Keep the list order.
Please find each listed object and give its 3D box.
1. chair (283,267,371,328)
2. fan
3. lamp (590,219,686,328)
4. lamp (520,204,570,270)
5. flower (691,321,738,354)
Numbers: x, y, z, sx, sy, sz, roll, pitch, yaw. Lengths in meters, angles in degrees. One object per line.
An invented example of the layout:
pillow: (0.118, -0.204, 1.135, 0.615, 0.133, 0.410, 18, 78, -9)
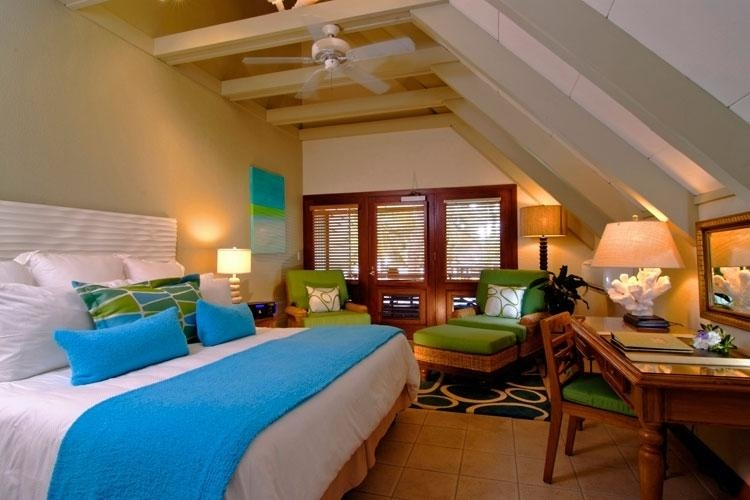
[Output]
chair: (-0.669, 0.656, 6.772, 0.858, 0.815, 0.841, 2, -13, -26)
fan: (-0.238, -1.645, 4.399, 0.864, 0.262, 0.953, -5, -6, 24)
lamp: (2.012, 0.141, 3.832, 0.691, 0.752, 0.534, -8, 13, -31)
lamp: (2.108, -0.152, 6.576, 0.509, 0.867, 0.546, -2, 11, -1)
flower: (2.105, 0.552, 3.192, 0.207, 0.110, 0.221, -5, 6, 5)
